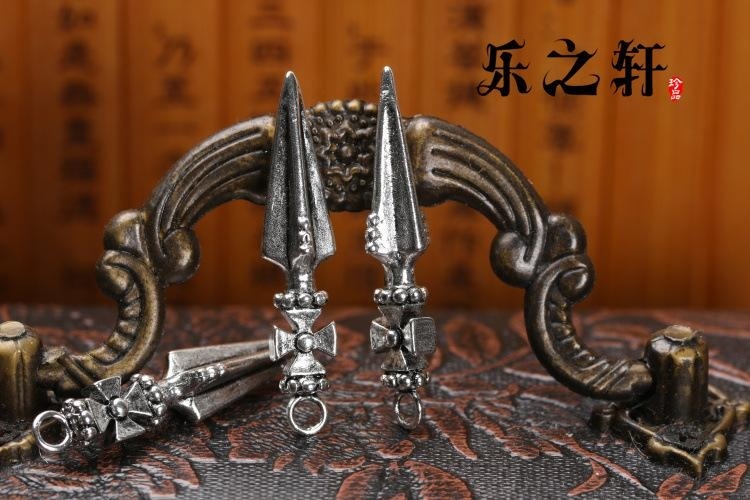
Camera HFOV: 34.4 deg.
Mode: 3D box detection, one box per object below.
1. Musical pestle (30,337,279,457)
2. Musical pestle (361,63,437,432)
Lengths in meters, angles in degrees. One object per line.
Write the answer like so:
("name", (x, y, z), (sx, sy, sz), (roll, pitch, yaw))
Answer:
("Musical pestle", (-0.335, 0.233, 1.928), (0.356, 0.179, 0.235), (-10, 17, -31))
("Musical pestle", (0.039, 0.008, 1.920), (0.158, 0.511, 0.153), (6, 15, 11))
